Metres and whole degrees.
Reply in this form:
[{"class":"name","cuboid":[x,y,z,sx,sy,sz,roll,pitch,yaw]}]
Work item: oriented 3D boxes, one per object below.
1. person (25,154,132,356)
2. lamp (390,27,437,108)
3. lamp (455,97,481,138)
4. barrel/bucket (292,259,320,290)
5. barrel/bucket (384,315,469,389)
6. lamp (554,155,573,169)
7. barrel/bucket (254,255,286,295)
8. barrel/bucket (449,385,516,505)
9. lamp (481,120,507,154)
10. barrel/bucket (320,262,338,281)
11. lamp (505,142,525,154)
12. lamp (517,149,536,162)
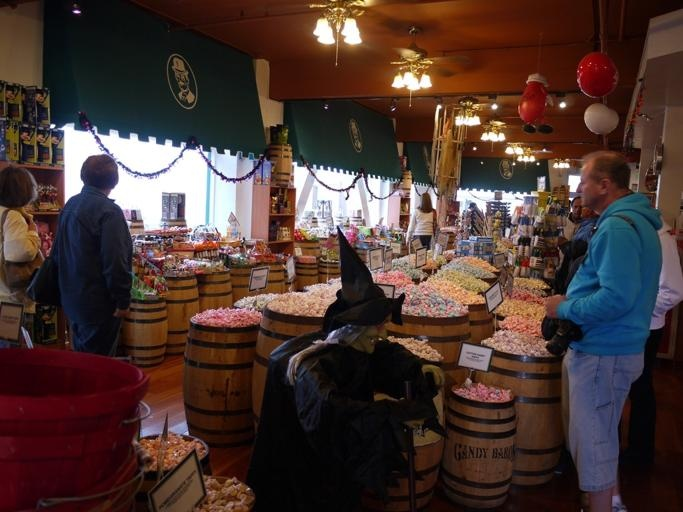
[{"class":"person","cuboid":[-1.573,-0.004,3.177,0.572,1.237,0.325,-3,6,-22]},{"class":"lamp","cuboid":[0.729,-2.174,6.083,0.647,0.920,0.654,8,10,26]},{"class":"lamp","cuboid":[1.748,-1.972,7.272,0.299,0.410,0.659,1,7,11]},{"class":"barrel/bucket","cuboid":[-0.488,0.233,7.286,0.387,0.580,0.398,1,1,0]},{"class":"barrel/bucket","cuboid":[0.533,0.542,3.391,0.460,0.481,0.459,2,-1,0]},{"class":"lamp","cuboid":[6.736,-2.847,15.980,0.632,0.326,0.650,2,1,11]},{"class":"barrel/bucket","cuboid":[-0.800,0.206,6.341,0.439,0.655,0.465,1,4,0]},{"class":"barrel/bucket","cuboid":[0.752,1.075,2.899,0.390,0.647,0.199,1,6,16]},{"class":"lamp","cuboid":[2.562,-2.117,8.761,0.341,0.308,0.847,1,7,18]},{"class":"barrel/bucket","cuboid":[-0.205,0.216,7.663,0.285,0.306,0.295,2,3,0]},{"class":"lamp","cuboid":[4.354,-2.724,13.225,0.440,0.268,0.452,2,1,12]},{"class":"lamp","cuboid":[4.701,-2.592,13.341,0.416,0.437,0.430,9,18,19]}]
